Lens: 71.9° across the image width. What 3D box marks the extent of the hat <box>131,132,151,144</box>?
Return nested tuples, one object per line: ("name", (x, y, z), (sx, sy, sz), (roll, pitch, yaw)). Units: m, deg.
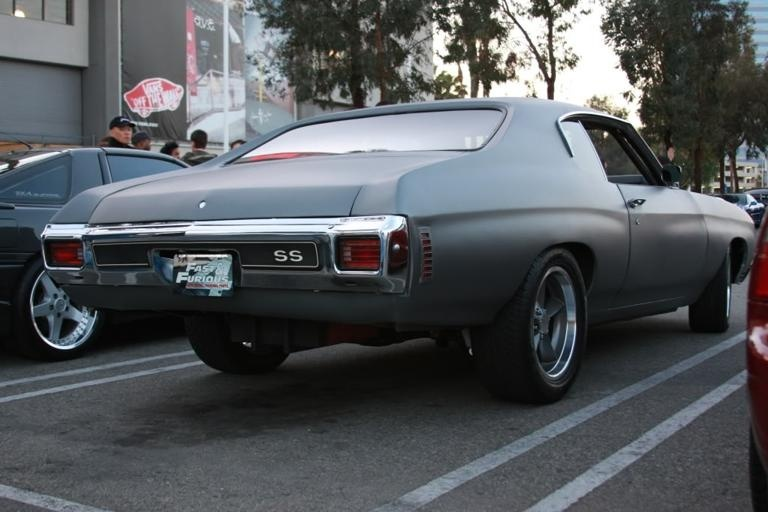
("hat", (-4.554, -2.197, 9.900), (0.399, 0.207, 0.278), (-23, 24, -27))
